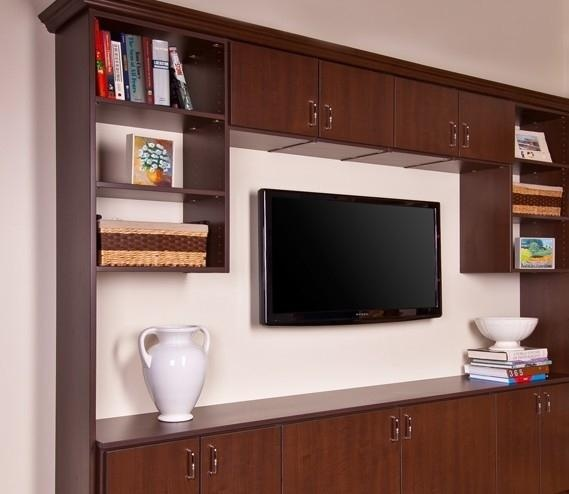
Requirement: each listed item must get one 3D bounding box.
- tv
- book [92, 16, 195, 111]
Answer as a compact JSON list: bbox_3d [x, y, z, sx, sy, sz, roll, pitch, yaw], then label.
[{"bbox_3d":[0.401,0.073,3.023,1.120,0.728,0.099,1,-7,-19],"label":"tv"},{"bbox_3d":[-0.598,-0.751,2.256,0.395,0.330,0.141,-2,0,-28],"label":"book"}]
